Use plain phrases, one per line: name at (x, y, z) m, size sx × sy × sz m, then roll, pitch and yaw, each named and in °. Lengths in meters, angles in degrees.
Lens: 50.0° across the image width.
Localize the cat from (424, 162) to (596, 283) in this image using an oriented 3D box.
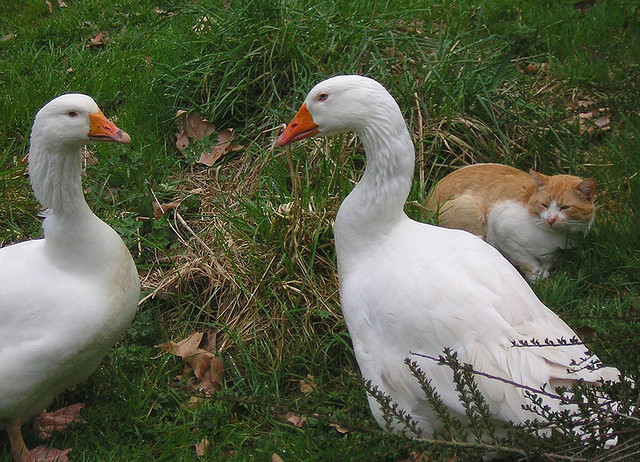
cat at (1.395, -0.102, 5.072) m, size 0.770 × 0.821 × 1.343 m, roll -11°, pitch 20°, yaw -38°
